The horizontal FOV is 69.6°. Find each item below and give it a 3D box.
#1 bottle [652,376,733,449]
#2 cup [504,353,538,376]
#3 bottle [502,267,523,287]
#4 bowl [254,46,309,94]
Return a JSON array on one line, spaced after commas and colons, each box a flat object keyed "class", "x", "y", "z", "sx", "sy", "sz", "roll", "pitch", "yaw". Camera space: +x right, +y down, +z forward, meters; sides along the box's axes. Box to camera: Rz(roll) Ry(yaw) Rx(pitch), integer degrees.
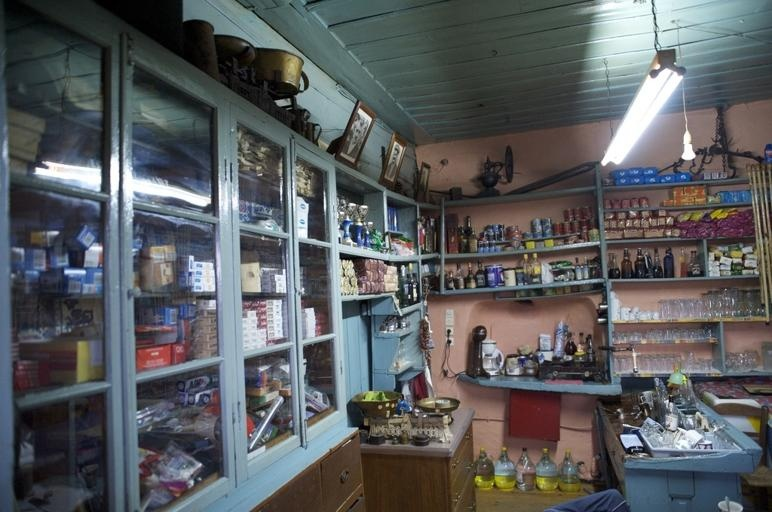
[{"class": "bottle", "x": 2.414, "y": 1.308, "z": 4.531, "sx": 0.356, "sy": 0.235, "sz": 0.635, "roll": -3, "pitch": -6, "yaw": 7}, {"class": "cup", "x": 1.550, "y": 1.256, "z": 6.370, "sx": 0.332, "sy": 0.193, "sz": 0.202, "roll": -2, "pitch": -5, "yaw": 14}, {"class": "bottle", "x": 1.467, "y": 0.243, "z": 6.416, "sx": 0.204, "sy": 0.197, "sz": 0.194, "roll": -2, "pitch": -7, "yaw": 28}, {"class": "bowl", "x": -0.679, "y": -1.210, "z": 3.748, "sx": 0.301, "sy": 0.172, "sz": 0.355, "roll": -8, "pitch": -14, "yaw": 37}]
